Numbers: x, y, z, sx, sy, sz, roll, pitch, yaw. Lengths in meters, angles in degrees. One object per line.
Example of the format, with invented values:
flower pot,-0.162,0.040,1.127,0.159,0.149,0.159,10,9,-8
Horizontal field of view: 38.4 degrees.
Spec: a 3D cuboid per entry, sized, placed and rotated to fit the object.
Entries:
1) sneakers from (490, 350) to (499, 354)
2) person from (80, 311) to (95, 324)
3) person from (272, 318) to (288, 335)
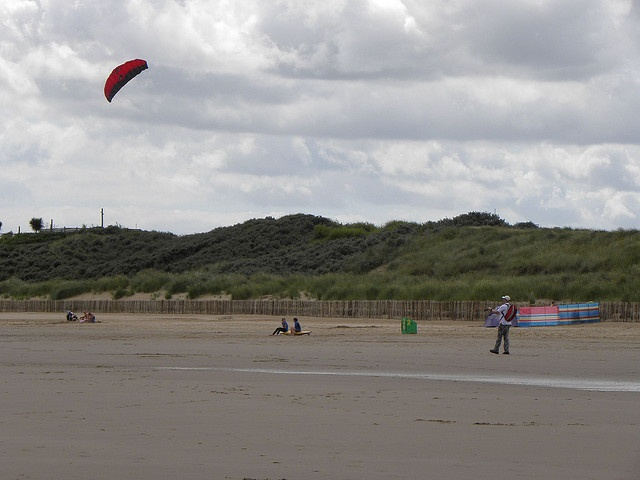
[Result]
sneakers,4.584,2.930,24.167,0.235,0.116,0.517,0,2,8
person,-10.051,3.402,39.862,0.666,0.429,0.908,-2,-3,-15
person,-1.322,2.954,31.302,0.535,0.503,1.247,-1,1,-2
